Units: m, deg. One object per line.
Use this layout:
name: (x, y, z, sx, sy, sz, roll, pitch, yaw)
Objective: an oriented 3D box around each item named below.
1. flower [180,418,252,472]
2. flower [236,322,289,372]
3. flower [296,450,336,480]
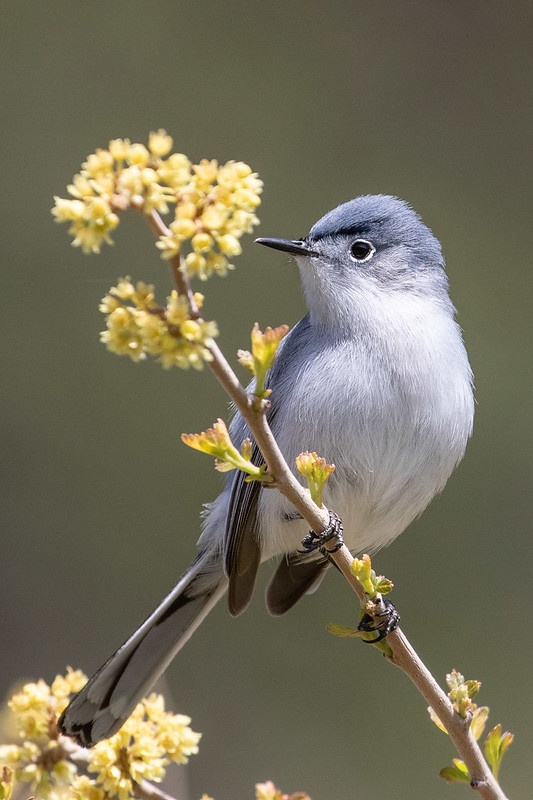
flower: (-0.058, 0.060, 1.171, 0.092, 0.119, 0.049, -10, -78, -3)
flower: (-0.002, -0.063, 1.139, 0.039, 0.022, 0.087, -20, -17, -11)
flower: (0.078, 0.094, 1.330, 0.045, 0.022, 0.043, 18, -43, 11)
